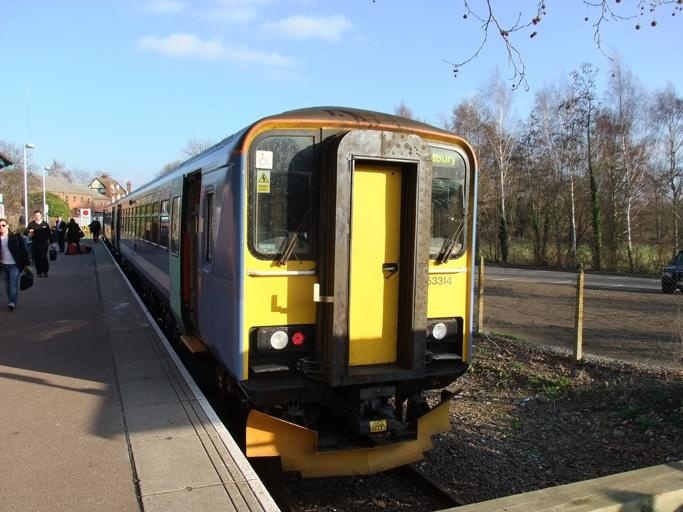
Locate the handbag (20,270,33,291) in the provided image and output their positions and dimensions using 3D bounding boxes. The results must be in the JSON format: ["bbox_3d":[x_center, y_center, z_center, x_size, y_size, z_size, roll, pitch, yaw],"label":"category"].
[{"bbox_3d":[-7.086,0.506,12.443,0.231,0.467,0.486,-2,2,-32],"label":"handbag"}]
